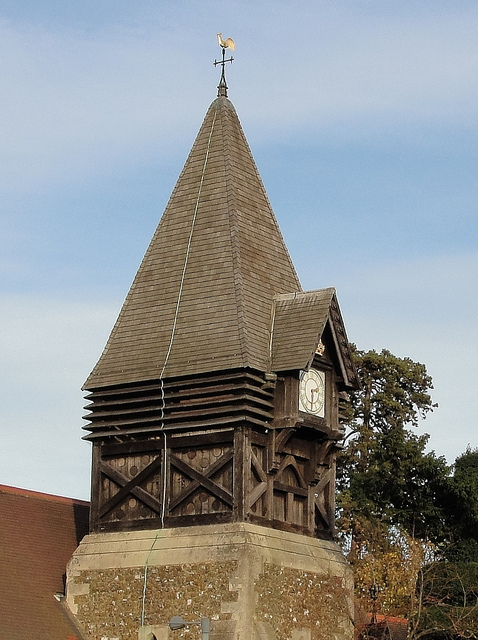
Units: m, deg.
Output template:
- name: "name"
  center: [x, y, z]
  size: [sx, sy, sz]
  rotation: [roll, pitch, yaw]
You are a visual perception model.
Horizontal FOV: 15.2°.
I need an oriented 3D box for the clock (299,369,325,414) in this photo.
- name: "clock"
  center: [1.604, 1.562, 39.088]
  size: [0.230, 1.065, 1.164]
  rotation: [-2, -15, 19]
